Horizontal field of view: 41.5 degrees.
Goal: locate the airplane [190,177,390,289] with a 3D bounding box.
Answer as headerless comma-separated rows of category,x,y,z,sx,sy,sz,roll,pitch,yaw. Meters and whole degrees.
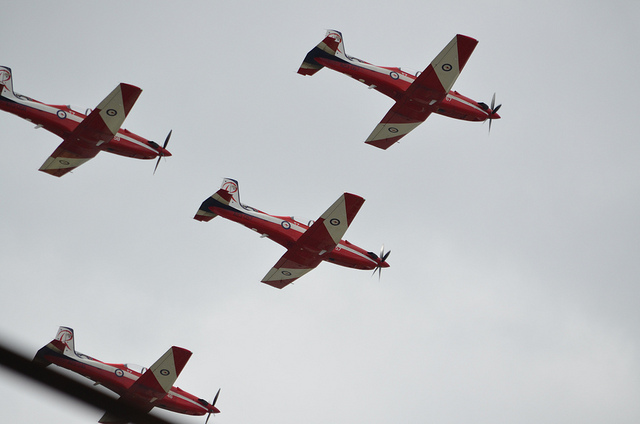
airplane,-0.964,0.830,34.156,5.352,1.491,5.179,23,-44,-13

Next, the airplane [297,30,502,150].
airplane,3.538,-5.573,36.349,6.942,3.011,5.832,-7,-64,18

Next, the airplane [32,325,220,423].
airplane,-6.537,5.435,26.346,5.340,1.763,6.283,21,-35,-12
